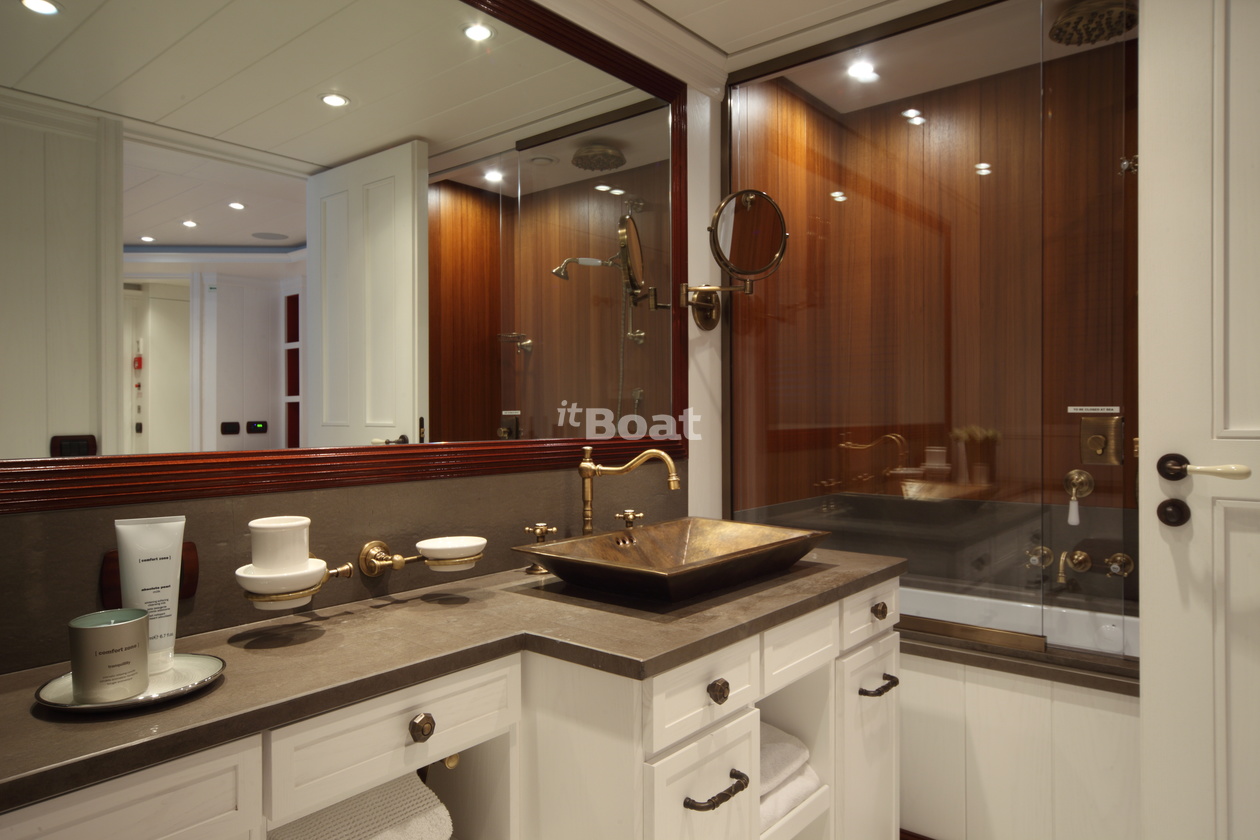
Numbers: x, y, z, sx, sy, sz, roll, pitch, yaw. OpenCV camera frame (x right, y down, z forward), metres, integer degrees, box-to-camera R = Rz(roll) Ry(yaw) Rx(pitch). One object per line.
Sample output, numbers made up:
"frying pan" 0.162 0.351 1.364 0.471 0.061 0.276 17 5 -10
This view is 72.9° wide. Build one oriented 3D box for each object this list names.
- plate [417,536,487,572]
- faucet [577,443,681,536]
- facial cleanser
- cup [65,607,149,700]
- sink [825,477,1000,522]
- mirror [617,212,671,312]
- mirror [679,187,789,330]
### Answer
"plate" -0.483 0.368 2.307 0.159 0.081 0.101 2 13 10
"faucet" -0.014 0.275 2.636 0.362 0.395 0.100 6 12 26
"facial cleanser" -1.025 0.350 1.854 0.107 0.343 0.122 7 4 35
"cup" -1.080 0.480 1.788 0.144 0.170 0.148 4 14 -1
"sink" 0.974 0.280 2.960 0.479 0.141 0.266 7 2 41
"mirror" 0.021 -0.552 3.049 0.254 0.405 0.206 0 3 27
"mirror" 0.345 -0.579 3.223 0.345 0.520 0.394 -3 9 -26
